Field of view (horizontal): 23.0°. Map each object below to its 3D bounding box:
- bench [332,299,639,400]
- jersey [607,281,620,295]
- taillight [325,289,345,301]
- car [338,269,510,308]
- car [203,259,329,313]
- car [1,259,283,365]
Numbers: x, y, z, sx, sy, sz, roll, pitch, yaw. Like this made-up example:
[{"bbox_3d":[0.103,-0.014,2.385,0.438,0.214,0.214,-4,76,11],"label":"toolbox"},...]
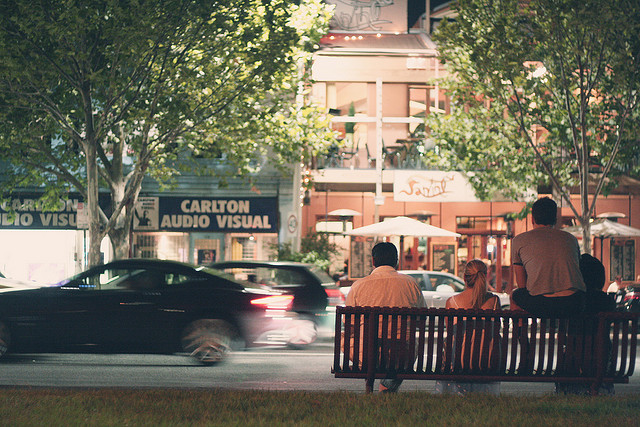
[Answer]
[{"bbox_3d":[3.999,3.454,40.538,7.401,2.536,0.703,-1,-4,0],"label":"bench"},{"bbox_3d":[9.936,2.548,53.666,0.485,0.477,0.275,7,1,15],"label":"jersey"},{"bbox_3d":[0.396,2.298,45.302,0.597,0.252,0.243,4,-7,-45],"label":"taillight"},{"bbox_3d":[2.699,2.312,50.558,4.640,1.431,1.915,-1,-3,-5],"label":"car"},{"bbox_3d":[-1.201,2.069,45.163,3.352,1.061,1.398,3,-5,-1],"label":"car"},{"bbox_3d":[-4.948,2.855,44.658,7.595,2.183,3.095,2,-6,0],"label":"car"}]
